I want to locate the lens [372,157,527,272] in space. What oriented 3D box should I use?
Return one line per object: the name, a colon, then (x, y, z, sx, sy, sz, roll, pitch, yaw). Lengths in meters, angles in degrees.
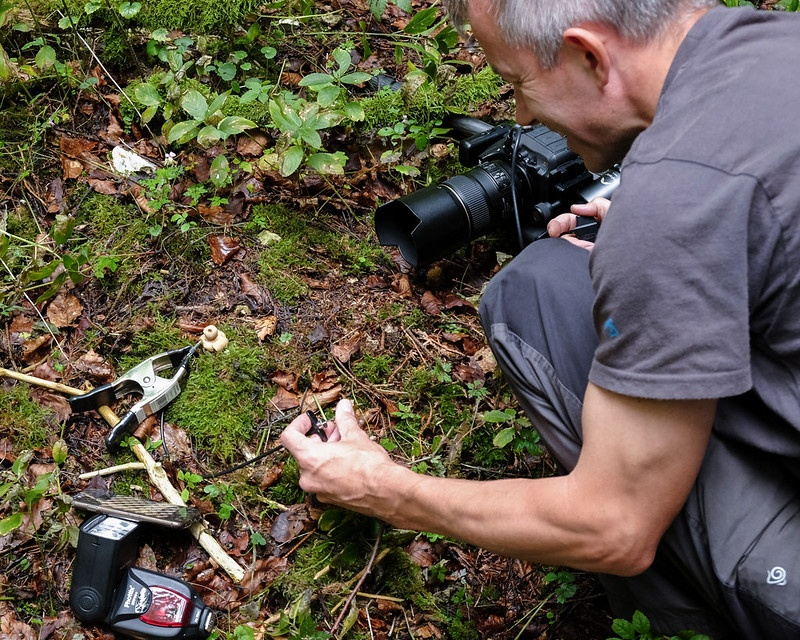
lens: (0.318, -0.501, 3.011, 0.801, 0.332, 0.333, -29, 31, -32)
